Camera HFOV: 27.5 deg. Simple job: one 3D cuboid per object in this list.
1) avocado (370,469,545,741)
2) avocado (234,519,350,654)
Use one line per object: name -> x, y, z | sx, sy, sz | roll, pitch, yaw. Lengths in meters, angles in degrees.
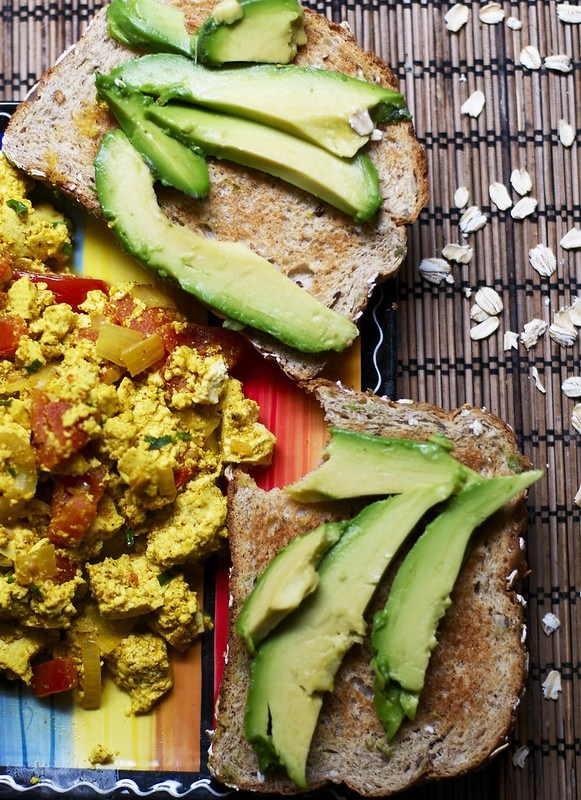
avocado -> 0.325, 0.420, 2.615 | 0.160, 0.567, 0.369 | 28, 34, 26
avocado -> -0.010, 0.404, 2.589 | 0.133, 0.258, 0.240 | 22, 33, 18
